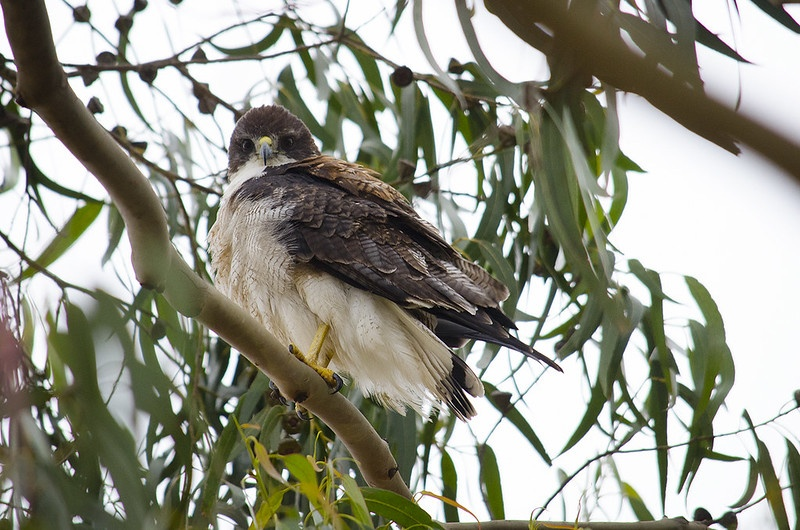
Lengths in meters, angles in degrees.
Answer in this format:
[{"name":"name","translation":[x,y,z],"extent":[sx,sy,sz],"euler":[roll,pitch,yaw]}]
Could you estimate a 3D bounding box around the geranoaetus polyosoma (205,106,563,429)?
[{"name":"geranoaetus polyosoma","translation":[-0.097,0.169,5.954],"extent":[1.451,1.515,0.903],"euler":[10,-23,7]}]
